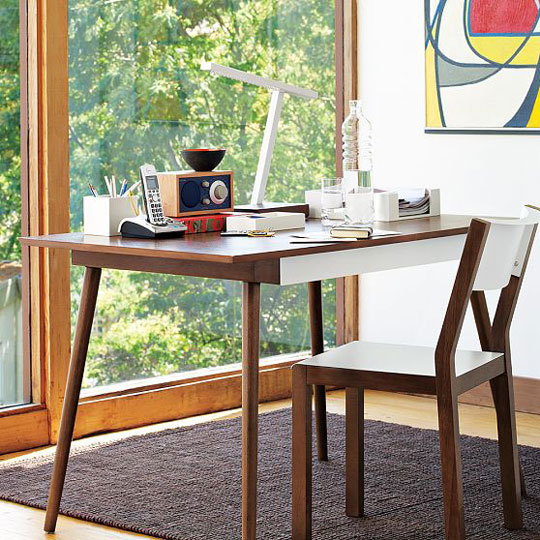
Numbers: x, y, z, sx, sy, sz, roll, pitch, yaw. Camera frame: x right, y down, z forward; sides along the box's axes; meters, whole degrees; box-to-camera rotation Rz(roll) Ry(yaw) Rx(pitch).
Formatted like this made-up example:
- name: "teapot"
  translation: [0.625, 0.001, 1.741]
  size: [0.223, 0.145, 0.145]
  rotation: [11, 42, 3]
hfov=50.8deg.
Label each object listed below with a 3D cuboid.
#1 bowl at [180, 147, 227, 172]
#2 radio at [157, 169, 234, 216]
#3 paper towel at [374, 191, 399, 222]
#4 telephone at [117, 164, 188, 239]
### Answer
- name: "bowl"
  translation: [-0.201, -0.319, 1.626]
  size: [0.118, 0.062, 0.172]
  rotation: [-6, 18, -21]
- name: "radio"
  translation: [-0.194, -0.208, 1.518]
  size: [0.102, 0.101, 0.199]
  rotation: [11, 17, 39]
- name: "paper towel"
  translation: [0.336, -0.187, 1.705]
  size: [0.082, 0.083, 0.083]
  rotation: [-1, 1, -9]
- name: "telephone"
  translation: [-0.276, -0.157, 1.316]
  size: [0.135, 0.164, 0.128]
  rotation: [3, 7, 17]
